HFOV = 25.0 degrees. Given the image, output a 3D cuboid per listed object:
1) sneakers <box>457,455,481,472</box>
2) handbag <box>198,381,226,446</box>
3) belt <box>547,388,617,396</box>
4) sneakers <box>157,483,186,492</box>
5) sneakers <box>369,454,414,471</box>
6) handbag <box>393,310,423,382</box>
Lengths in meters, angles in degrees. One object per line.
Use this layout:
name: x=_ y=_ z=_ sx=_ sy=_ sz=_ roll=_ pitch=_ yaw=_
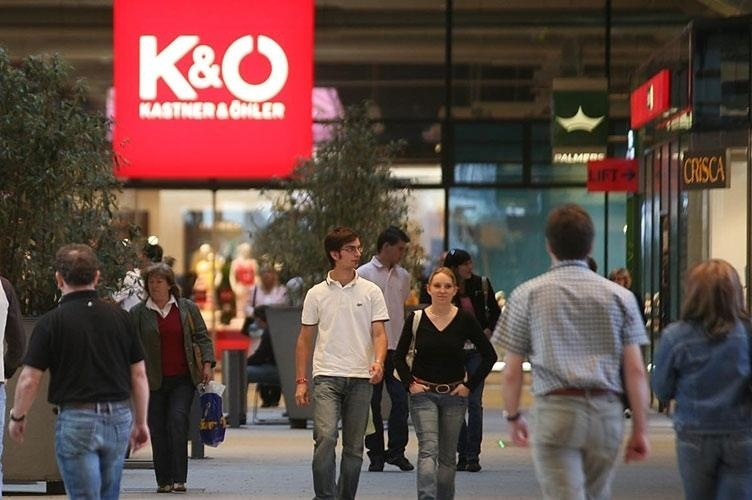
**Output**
sneakers: x=1.209 y=2.773 z=21.898 sx=0.368 sy=0.293 sz=0.129 roll=-6 pitch=-6 yaw=23
handbag: x=-2.029 y=2.039 z=21.212 sx=0.292 sy=0.816 sz=0.360 roll=-1 pitch=-2 yaw=-8
belt: x=2.137 y=1.478 z=17.731 sx=0.678 sy=0.090 sz=0.082 roll=-2 pitch=-2 yaw=7
sneakers: x=-2.487 y=2.914 z=20.748 sx=0.358 sy=0.158 sz=0.126 roll=2 pitch=-1 yaw=39
sneakers: x=0.212 y=2.705 z=21.813 sx=0.634 sy=0.302 sz=0.228 roll=-4 pitch=-2 yaw=6
handbag: x=0.426 y=1.091 z=19.689 sx=0.435 sy=0.631 sz=0.662 roll=9 pitch=-12 yaw=12
